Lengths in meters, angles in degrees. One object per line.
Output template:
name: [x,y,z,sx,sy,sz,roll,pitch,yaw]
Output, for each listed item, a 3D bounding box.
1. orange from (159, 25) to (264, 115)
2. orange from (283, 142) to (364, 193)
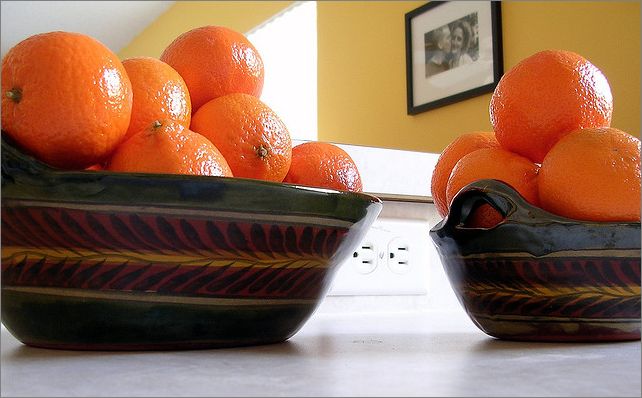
orange: [-0.110,-0.137,0.596,0.111,0.089,0.092,-16,50,-25]
orange: [0.001,-0.022,0.590,0.063,0.056,0.070,-5,38,-44]
